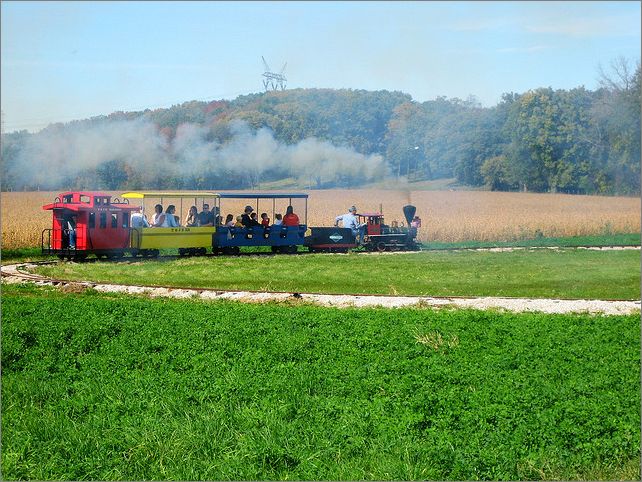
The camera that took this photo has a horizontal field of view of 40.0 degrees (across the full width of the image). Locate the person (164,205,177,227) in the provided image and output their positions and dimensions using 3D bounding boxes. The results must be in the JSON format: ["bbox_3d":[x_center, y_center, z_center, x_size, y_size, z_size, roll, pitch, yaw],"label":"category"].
[{"bbox_3d":[-6.203,-1.032,36.807,0.512,0.907,1.121,-2,3,-9],"label":"person"}]

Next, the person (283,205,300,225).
[{"bbox_3d":[-1.334,-1.091,39.328,0.773,1.239,0.804,1,11,-3],"label":"person"}]

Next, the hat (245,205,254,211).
[{"bbox_3d":[-3.140,-1.413,38.633,0.370,0.204,0.553,3,1,0],"label":"hat"}]

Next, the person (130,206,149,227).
[{"bbox_3d":[-7.389,-0.971,36.256,0.693,0.795,0.714,-2,8,-8],"label":"person"}]

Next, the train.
[{"bbox_3d":[-2.809,-0.317,39.443,16.874,3.511,2.353,-1,-10,-22],"label":"train"}]
